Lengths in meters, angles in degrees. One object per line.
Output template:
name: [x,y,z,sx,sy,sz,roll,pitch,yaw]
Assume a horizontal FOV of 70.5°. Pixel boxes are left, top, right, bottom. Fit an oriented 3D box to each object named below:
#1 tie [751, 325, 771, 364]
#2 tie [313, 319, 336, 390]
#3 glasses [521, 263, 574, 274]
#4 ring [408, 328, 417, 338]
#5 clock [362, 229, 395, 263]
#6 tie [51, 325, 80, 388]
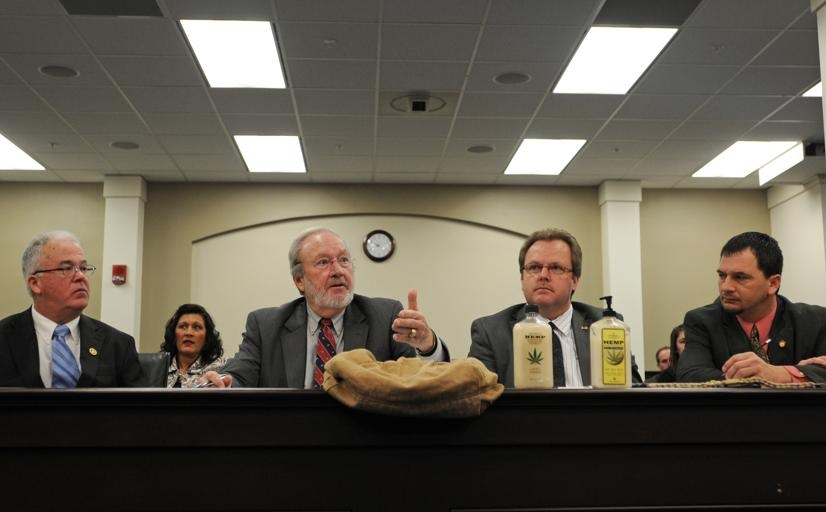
tie: [2.030,0.514,3.430,0.061,0.189,0.145,-17,-18,29]
tie: [-0.482,0.518,3.189,0.112,0.361,0.180,-6,-8,18]
glasses: [0.776,0.075,3.324,0.266,0.072,0.077,-4,-7,9]
ring: [0.006,0.368,2.789,0.051,0.047,0.028,0,-2,9]
clock: [-0.512,-0.148,9.078,0.492,0.454,0.482,2,-14,-7]
tie: [-2.032,0.584,3.434,0.156,0.355,0.088,0,-8,-23]
